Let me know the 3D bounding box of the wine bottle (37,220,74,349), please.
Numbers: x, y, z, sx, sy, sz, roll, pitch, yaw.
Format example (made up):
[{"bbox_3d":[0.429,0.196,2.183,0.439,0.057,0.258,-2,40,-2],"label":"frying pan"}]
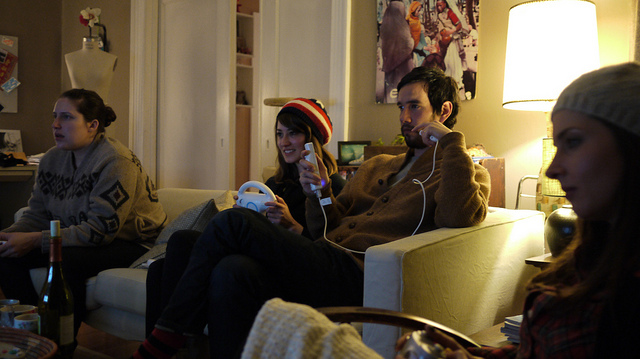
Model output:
[{"bbox_3d":[-1.285,0.513,2.445,0.160,0.644,0.193,0,-1,11],"label":"wine bottle"}]

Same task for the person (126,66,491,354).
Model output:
[{"bbox_3d":[0.035,0.072,2.736,1.828,1.527,0.703,0,5,-17],"label":"person"}]

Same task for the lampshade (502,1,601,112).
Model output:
[{"bbox_3d":[1.467,-0.817,3.063,0.533,0.634,0.222,3,5,26],"label":"lampshade"}]

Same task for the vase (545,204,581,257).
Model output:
[{"bbox_3d":[1.333,0.288,2.686,0.142,0.286,0.169,3,5,22],"label":"vase"}]

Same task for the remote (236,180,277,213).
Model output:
[{"bbox_3d":[-0.393,0.123,2.977,0.288,0.229,0.109,3,19,25],"label":"remote"}]

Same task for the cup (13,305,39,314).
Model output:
[{"bbox_3d":[-1.493,0.656,2.440,0.068,0.055,0.077,0,-7,5],"label":"cup"}]

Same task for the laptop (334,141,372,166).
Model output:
[{"bbox_3d":[0.296,-0.228,4.200,0.260,0.209,0.027,1,0,12],"label":"laptop"}]

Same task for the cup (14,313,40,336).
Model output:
[{"bbox_3d":[-1.435,0.703,2.373,0.103,0.077,0.101,1,-4,0],"label":"cup"}]
